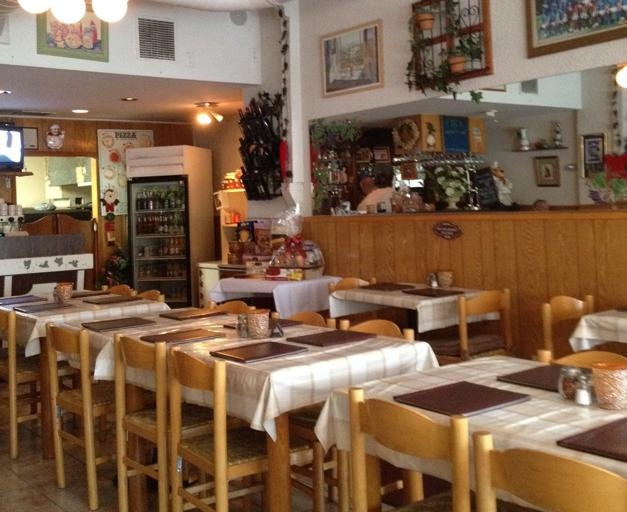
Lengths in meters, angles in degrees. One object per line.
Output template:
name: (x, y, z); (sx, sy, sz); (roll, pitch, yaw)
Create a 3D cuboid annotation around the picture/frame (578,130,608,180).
picture/frame: (3.622, -1.305, 6.952); (0.295, 0.589, 0.142); (-2, 5, 22)

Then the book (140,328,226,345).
book: (-0.712, 0.431, 2.901); (0.389, 0.034, 0.312); (-6, 5, -40)

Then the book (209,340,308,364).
book: (-0.264, 0.442, 2.549); (0.385, 0.033, 0.417); (1, 6, 41)

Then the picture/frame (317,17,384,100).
picture/frame: (0.409, -2.152, 5.884); (0.068, 0.752, 0.916); (-8, 6, -42)

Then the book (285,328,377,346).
book: (0.096, 0.421, 2.784); (0.387, 0.029, 0.300); (-5, 5, -34)

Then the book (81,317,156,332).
book: (-1.166, 0.416, 3.288); (0.426, 0.024, 0.392); (-5, 5, -31)

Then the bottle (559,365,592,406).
bottle: (0.852, 0.417, 1.745); (0.111, 0.082, 0.104); (-1, 6, 0)

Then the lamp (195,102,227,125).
lamp: (-1.650, -2.226, 8.301); (0.548, 0.269, 0.524); (3, 12, 16)

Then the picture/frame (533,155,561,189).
picture/frame: (3.193, -1.164, 7.341); (0.090, 0.441, 0.359); (-7, 6, -37)

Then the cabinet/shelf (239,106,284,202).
cabinet/shelf: (-0.702, -1.336, 6.869); (0.217, 1.197, 0.667); (-8, 6, -42)

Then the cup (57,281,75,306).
cup: (-1.983, 0.312, 4.365); (0.168, 0.151, 0.164); (4, 6, 0)

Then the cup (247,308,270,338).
cup: (-0.286, 0.356, 2.907); (0.152, 0.139, 0.144); (0, 6, 0)

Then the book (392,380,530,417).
book: (0.494, 0.470, 1.791); (0.360, 0.031, 0.271); (-5, 5, -34)
